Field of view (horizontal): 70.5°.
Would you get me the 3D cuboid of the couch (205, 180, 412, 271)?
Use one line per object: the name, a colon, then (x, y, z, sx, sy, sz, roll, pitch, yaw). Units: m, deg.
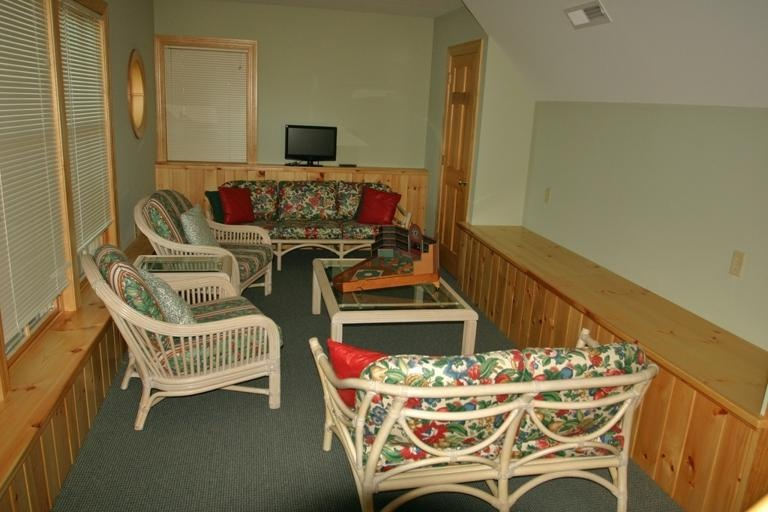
couch: (-0.912, -0.387, 6.619, 2.390, 0.990, 0.858, -1, 14, -8)

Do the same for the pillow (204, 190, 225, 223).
pillow: (-1.880, -0.564, 6.117, 0.098, 0.303, 0.349, -13, -2, 2)

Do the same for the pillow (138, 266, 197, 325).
pillow: (-1.367, 0.257, 3.454, 0.306, 0.344, 0.163, -2, 18, -5)

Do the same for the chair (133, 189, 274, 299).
chair: (-1.626, -0.123, 4.844, 1.275, 1.125, 1.026, 1, 27, -11)

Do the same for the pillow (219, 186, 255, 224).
pillow: (-1.656, -0.567, 6.140, 0.125, 0.408, 0.438, -19, -6, 37)

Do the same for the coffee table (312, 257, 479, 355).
coffee table: (0.062, 0.576, 4.797, 1.192, 0.612, 1.562, 1, 9, -6)

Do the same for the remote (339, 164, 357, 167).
remote: (-0.470, -1.216, 7.300, 0.133, 0.032, 0.094, 2, 16, 1)

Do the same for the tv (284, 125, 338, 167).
tv: (-0.972, -1.455, 7.084, 0.584, 0.435, 0.156, -1, 23, -10)

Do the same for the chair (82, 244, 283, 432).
chair: (-1.322, 0.474, 3.780, 1.076, 0.997, 0.876, -4, 20, -32)
